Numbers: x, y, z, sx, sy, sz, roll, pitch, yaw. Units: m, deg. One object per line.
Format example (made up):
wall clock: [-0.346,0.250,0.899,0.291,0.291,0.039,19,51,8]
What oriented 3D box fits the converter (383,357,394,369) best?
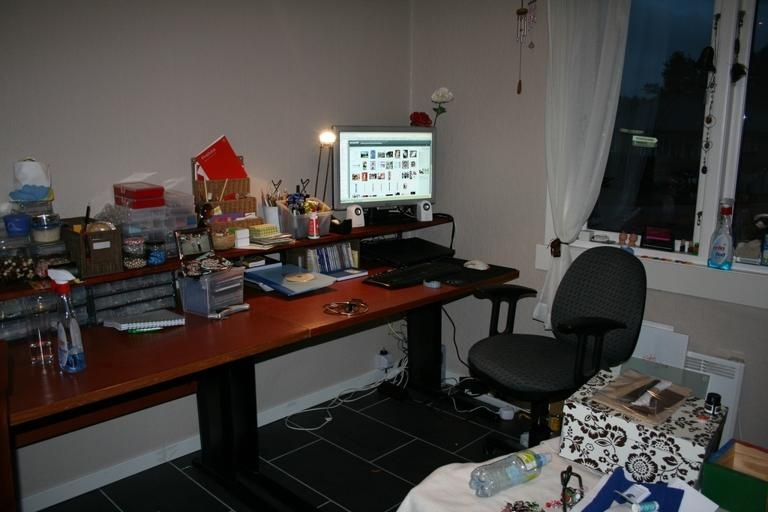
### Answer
converter: [0.020,0.822,4.062,0.056,0.095,0.103,4,8,36]

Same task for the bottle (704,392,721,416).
bottle: [1.223,0.562,2.002,0.064,0.077,0.086,5,12,23]

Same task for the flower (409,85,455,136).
flower: [0.344,-1.082,3.832,0.291,0.296,0.380,0,13,14]

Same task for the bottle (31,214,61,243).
bottle: [-1.663,-0.146,2.665,0.142,0.148,0.138,-3,11,-17]

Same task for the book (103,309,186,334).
book: [-1.197,0.324,2.636,0.188,0.043,0.174,-6,11,-40]

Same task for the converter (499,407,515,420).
converter: [0.828,1.074,3.597,0.100,0.061,0.059,1,7,24]

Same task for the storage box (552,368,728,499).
storage box: [0.949,0.653,1.954,0.442,0.220,0.323,13,19,41]

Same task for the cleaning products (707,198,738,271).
cleaning products: [1.916,-0.128,3.008,0.127,0.392,0.162,4,15,29]

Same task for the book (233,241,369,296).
book: [-0.486,0.088,3.253,0.396,0.139,0.474,15,22,40]
